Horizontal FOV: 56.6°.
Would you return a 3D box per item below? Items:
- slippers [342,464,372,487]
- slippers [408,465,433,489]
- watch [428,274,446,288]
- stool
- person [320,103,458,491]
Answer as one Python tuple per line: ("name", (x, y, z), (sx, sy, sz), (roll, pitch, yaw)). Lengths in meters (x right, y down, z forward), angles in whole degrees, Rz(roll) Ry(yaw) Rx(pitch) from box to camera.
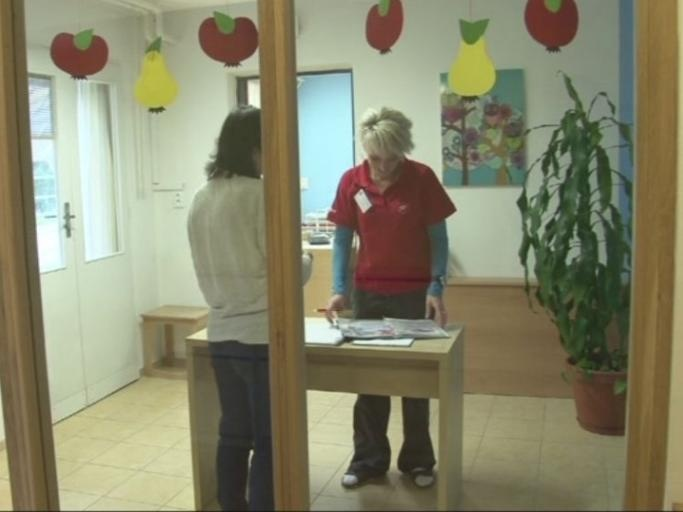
("slippers", (0.060, 0.795, 2.305), (0.098, 0.050, 0.060), (1, -2, -6))
("slippers", (0.275, 0.774, 2.216), (0.069, 0.063, 0.029), (14, -14, 17))
("watch", (0.331, 0.088, 2.192), (0.041, 0.046, 0.033), (2, -1, 2))
("stool", (-0.637, 0.288, 2.539), (0.279, 0.316, 0.262), (1, 7, 8))
("person", (0.181, 0.186, 2.263), (0.420, 1.381, 0.384), (-2, 7, 2))
